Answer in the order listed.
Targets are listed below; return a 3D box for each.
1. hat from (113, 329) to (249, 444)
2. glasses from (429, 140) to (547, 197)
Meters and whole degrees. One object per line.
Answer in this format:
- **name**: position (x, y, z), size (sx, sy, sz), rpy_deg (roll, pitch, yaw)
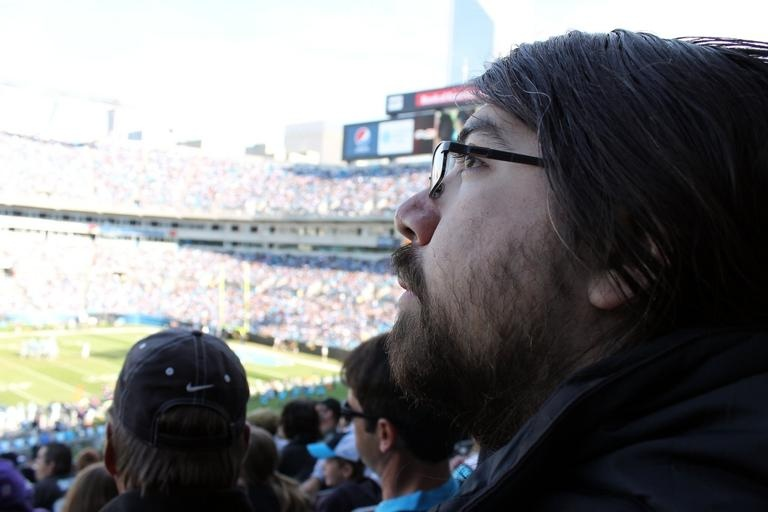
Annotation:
- **hat**: position (-0.742, 0.440, 2.632), size (0.323, 0.280, 0.455), rpy_deg (9, 3, -18)
- **glasses**: position (0.275, -0.269, 2.026), size (0.201, 0.063, 0.196), rpy_deg (9, -7, -11)
